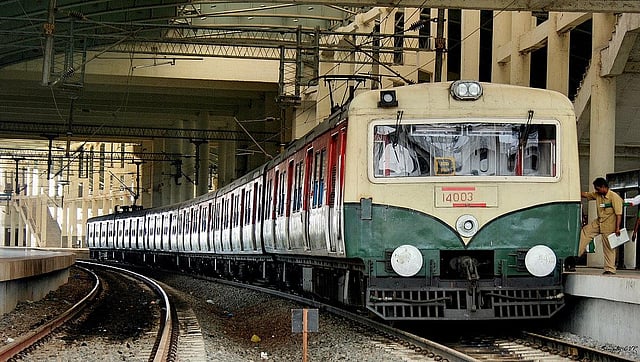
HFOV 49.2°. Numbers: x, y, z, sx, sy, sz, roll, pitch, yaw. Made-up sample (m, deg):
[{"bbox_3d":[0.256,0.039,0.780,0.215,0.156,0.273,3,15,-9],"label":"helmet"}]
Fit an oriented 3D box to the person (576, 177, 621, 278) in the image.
[{"bbox_3d":[7.626,1.232,19.045,1.088,2.198,0.717,-2,-1,23],"label":"person"}]
